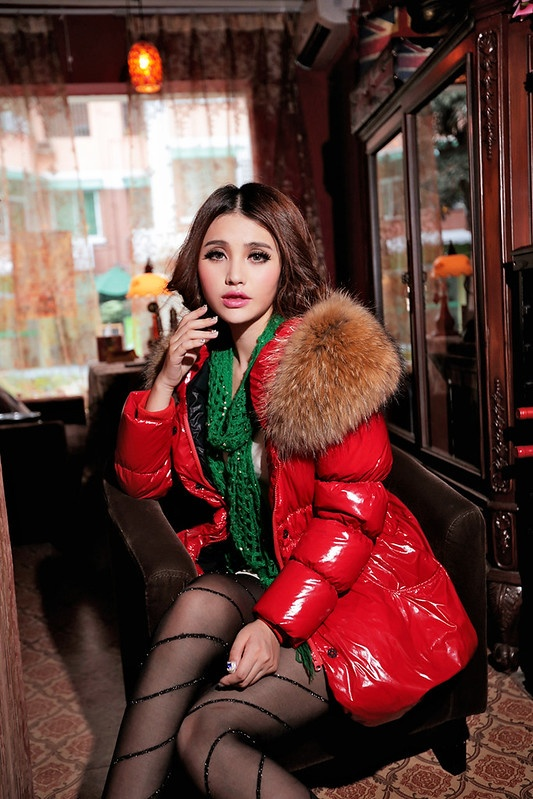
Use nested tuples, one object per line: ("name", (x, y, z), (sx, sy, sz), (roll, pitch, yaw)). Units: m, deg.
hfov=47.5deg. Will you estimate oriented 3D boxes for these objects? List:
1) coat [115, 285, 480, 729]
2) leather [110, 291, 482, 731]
("coat", (0.090, 0.211, 1.454), (0.712, 0.968, 0.841), (-4, 4, -37))
("leather", (0.095, 0.183, 1.252), (0.555, 0.761, 0.648), (-7, 13, -30))
